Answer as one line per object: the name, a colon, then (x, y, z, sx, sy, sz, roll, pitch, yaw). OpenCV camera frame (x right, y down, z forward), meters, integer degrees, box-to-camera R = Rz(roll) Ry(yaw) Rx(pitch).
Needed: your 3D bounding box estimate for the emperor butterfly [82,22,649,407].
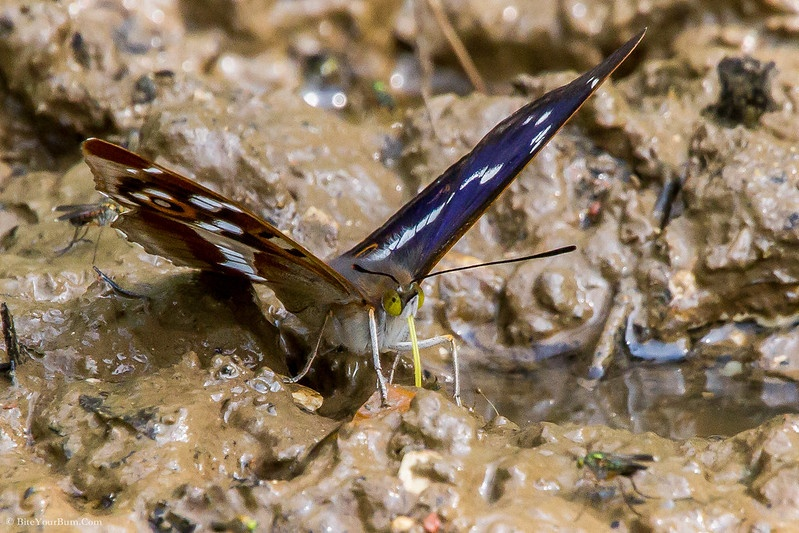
emperor butterfly: (-0.239, -0.176, 6.023, 2.821, 1.471, 1.373, -14, 79, -6)
